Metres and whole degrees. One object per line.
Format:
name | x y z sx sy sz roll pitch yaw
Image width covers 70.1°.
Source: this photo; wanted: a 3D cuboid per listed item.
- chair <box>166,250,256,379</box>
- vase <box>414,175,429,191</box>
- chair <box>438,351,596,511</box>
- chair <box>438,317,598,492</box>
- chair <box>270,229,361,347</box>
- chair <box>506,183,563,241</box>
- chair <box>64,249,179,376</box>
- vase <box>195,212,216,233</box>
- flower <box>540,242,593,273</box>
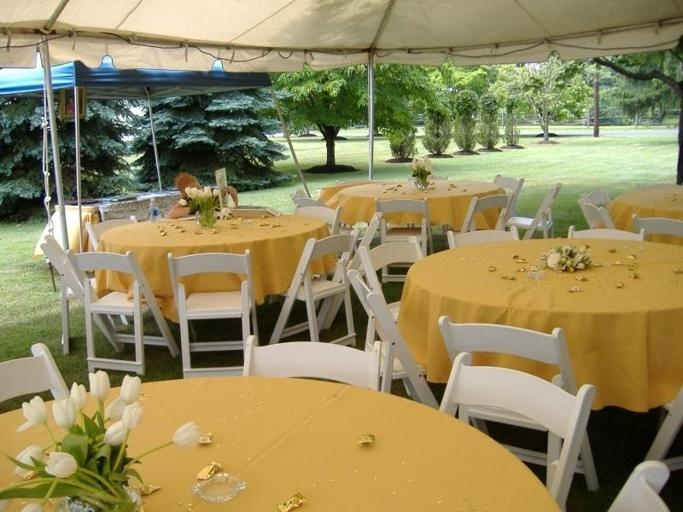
chair | -0.998 0.440 3.869 0.752 0.927 0.750 -6 7 -29
vase | 1.103 -0.986 6.696 0.270 0.205 0.243 2 4 7
chair | 0.604 0.496 1.902 0.488 0.704 0.535 9 11 37
chair | 0.689 0.699 2.086 0.459 0.700 0.488 3 39 24
chair | -0.268 0.304 4.294 0.848 1.002 0.823 -2 7 -4
chair | 2.491 -0.459 6.292 0.650 0.802 0.606 -6 14 10
chair | -1.797 0.449 4.058 0.678 0.950 0.770 1 4 20
vase | -1.251 -0.316 4.576 0.193 0.224 0.192 -2 7 -1
flower | 1.418 0.021 3.026 0.225 0.102 0.217 0 14 13
